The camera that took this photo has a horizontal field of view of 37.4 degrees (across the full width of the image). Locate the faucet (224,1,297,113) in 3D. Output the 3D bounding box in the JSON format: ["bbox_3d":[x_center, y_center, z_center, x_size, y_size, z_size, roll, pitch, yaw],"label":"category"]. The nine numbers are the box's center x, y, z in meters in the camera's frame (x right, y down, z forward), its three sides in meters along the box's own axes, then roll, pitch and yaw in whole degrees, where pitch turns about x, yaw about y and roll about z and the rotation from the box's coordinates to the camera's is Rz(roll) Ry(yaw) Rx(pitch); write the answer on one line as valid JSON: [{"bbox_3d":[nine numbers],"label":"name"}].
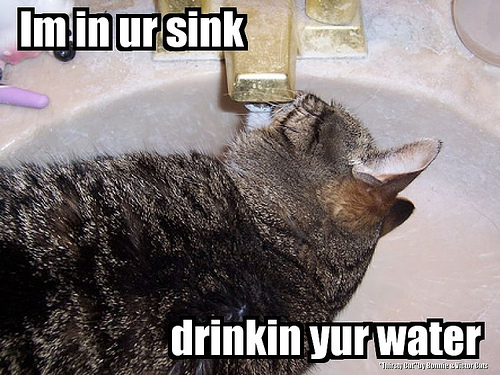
[{"bbox_3d":[0.017,-0.234,1.237,0.115,0.058,0.177,-3,77,0],"label":"faucet"}]
